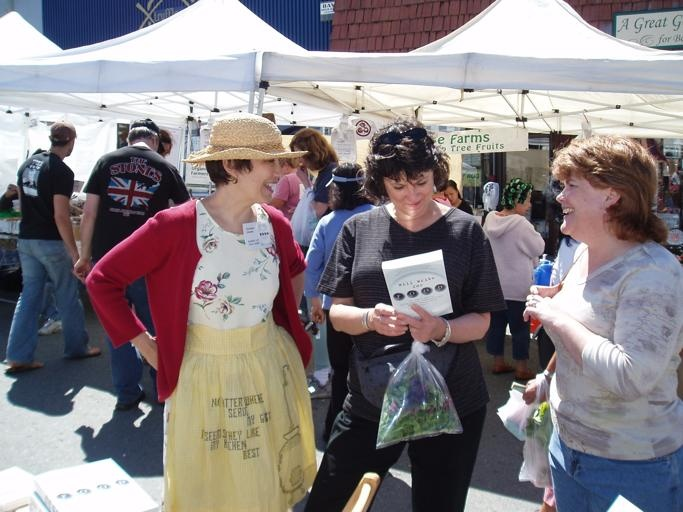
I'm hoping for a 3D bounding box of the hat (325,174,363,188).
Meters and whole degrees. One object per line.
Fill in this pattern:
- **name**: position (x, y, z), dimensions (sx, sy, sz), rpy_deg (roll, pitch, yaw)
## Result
- **hat**: position (0.019, -0.556, 4.005), dimensions (0.149, 0.079, 0.374), rpy_deg (-8, 14, -39)
